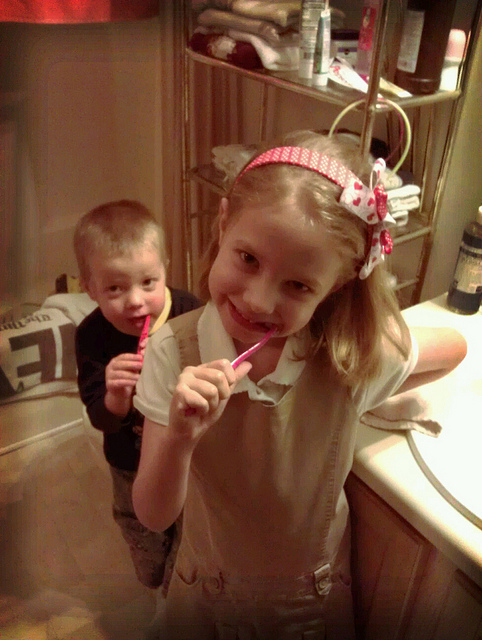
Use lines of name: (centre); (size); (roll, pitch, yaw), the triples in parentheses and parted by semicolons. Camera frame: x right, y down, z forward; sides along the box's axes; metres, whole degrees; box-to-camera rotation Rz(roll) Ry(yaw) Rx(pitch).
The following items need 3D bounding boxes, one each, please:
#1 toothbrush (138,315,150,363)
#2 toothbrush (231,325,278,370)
toothbrush: (-0.141, 0.025, 0.899); (0.013, 0.074, 0.007); (10, -19, 3)
toothbrush: (0.014, 0.030, 0.733); (0.016, 0.075, 0.012); (45, 22, -16)
